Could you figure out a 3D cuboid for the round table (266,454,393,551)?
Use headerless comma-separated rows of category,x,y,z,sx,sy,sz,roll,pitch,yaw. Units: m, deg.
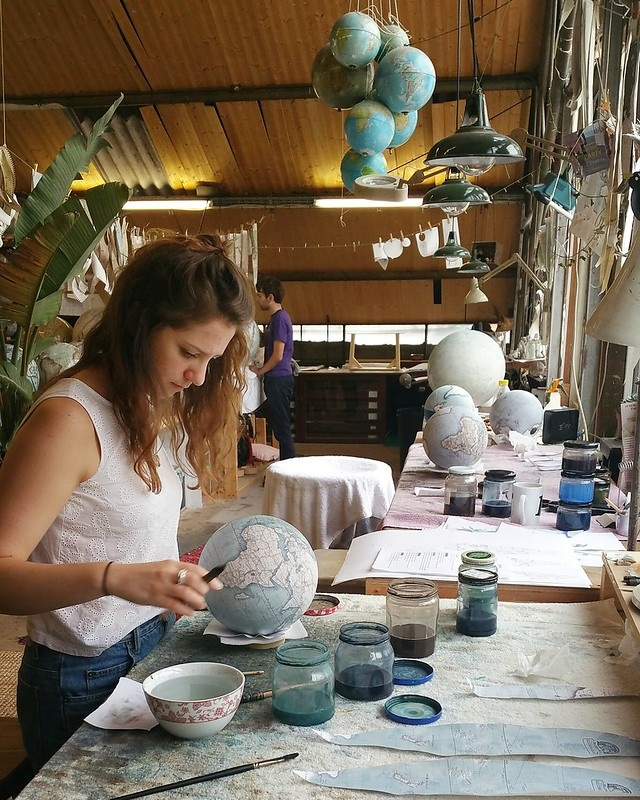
round table,-0.002,0.579,3.780,0.763,0.414,0.819,2,2,0

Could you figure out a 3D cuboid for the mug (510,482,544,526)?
mug,0.652,0.333,2.030,0.087,0.133,0.140,3,9,23

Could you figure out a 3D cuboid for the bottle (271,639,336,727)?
bottle,-0.025,0.424,0.966,0.090,0.098,0.083,-1,5,-22

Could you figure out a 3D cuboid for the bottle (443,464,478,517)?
bottle,0.472,0.308,2.168,0.105,0.153,0.139,2,5,11

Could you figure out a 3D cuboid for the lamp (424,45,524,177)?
lamp,0.624,-1.182,2.596,0.372,0.457,0.351,6,13,27

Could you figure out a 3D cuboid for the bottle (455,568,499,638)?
bottle,0.315,0.408,1.298,0.085,0.115,0.082,0,3,0

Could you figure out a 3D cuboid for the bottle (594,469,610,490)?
bottle,0.962,0.269,2.209,0.065,0.065,0.064,4,9,35

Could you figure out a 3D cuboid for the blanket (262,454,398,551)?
blanket,0.043,0.583,3.760,0.721,0.434,0.745,3,5,32

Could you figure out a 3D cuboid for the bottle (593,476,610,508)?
bottle,0.961,0.316,2.187,0.093,0.100,0.041,-2,6,-36

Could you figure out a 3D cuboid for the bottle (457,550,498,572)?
bottle,0.335,0.332,1.366,0.053,0.046,0.051,1,4,16

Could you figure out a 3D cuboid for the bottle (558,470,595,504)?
bottle,0.816,0.277,2.050,0.112,0.104,0.108,1,-6,-2

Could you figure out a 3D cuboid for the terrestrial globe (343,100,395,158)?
terrestrial globe,0.253,-1.438,3.396,0.283,0.294,0.270,6,6,20

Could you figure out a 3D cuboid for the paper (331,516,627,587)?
paper,0.459,0.414,1.777,0.843,0.066,0.559,1,4,1

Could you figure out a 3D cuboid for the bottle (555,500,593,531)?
bottle,0.789,0.363,2.034,0.093,0.091,0.091,1,-2,-30

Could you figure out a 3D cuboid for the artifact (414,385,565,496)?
artifact,0.775,0.139,2.952,0.832,0.321,0.334,4,-30,-42

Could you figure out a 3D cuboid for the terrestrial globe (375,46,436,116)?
terrestrial globe,0.422,-1.609,3.240,0.307,0.316,0.305,-7,14,-26

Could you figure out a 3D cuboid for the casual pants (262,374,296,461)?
casual pants,-0.401,0.172,6.279,0.239,0.952,0.315,-6,18,-13

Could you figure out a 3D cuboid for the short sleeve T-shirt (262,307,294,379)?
short sleeve T-shirt,-0.391,-0.526,5.994,0.247,0.624,0.331,1,5,-3

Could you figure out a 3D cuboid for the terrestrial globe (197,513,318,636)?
terrestrial globe,-0.114,0.357,1.272,0.231,0.210,0.223,-4,-8,28

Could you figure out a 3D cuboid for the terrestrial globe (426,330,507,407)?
terrestrial globe,0.866,-0.189,3.830,0.447,0.479,0.429,-8,22,-2

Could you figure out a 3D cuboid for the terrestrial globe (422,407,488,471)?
terrestrial globe,0.543,0.165,2.622,0.244,0.283,0.220,2,5,8

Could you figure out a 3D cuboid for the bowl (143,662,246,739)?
bowl,-0.189,0.443,0.942,0.138,0.062,0.131,1,2,0

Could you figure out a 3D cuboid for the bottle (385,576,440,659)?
bottle,0.175,0.413,1.209,0.096,0.120,0.092,0,0,0

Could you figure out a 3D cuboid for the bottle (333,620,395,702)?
bottle,0.070,0.428,1.058,0.101,0.100,0.098,1,-1,-8

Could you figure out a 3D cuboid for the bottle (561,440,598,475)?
bottle,0.849,0.190,2.115,0.115,0.106,0.110,1,-4,0

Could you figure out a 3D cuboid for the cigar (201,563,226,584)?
cigar,-0.188,0.305,1.130,0.052,0.012,0.014,-43,-5,35
